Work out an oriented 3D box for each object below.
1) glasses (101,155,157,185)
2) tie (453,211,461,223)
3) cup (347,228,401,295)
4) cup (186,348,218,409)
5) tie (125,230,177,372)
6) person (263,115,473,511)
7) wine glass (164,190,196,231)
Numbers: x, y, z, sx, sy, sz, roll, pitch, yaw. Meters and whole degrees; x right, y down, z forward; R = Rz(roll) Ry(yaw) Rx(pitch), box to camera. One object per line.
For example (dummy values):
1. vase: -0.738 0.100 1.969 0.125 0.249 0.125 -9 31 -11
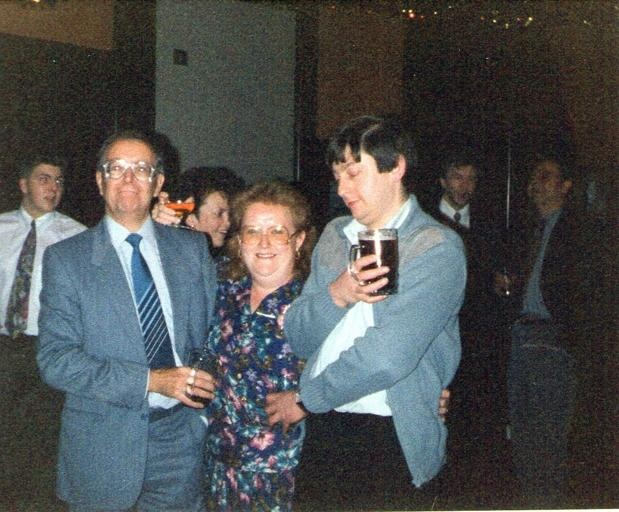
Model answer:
1. glasses: -0.761 -0.371 2.785 0.144 0.040 0.128 2 -22 -11
2. tie: 0.832 -0.217 3.675 0.046 0.049 0.016 -2 -13 28
3. cup: 0.264 0.024 2.459 0.161 0.252 0.088 2 3 1
4. cup: -0.435 0.507 2.738 0.135 0.231 0.106 1 3 -15
5. tie: -0.720 0.193 2.850 0.165 0.640 0.057 -15 -8 -25
6. person: 0.237 0.304 2.620 0.677 1.704 0.458 4 4 35
7. wine glass: -0.693 -0.236 3.566 0.138 0.117 0.132 -2 3 -41
